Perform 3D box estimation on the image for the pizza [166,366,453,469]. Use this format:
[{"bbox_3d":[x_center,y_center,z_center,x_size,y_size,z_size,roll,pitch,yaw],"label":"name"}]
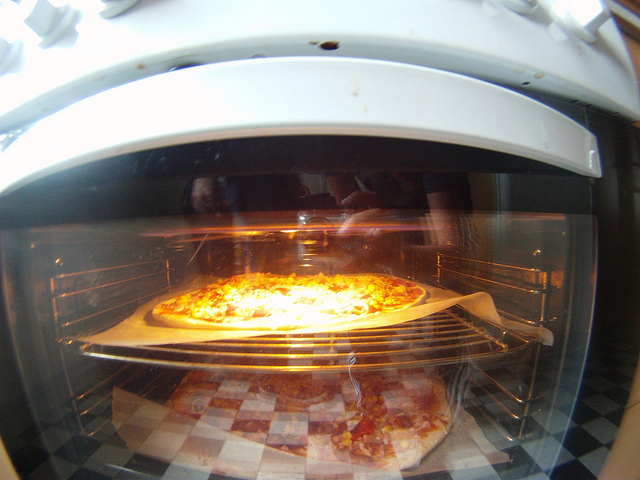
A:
[{"bbox_3d":[-0.005,0.271,0.677,0.326,0.034,0.197,2,27,7],"label":"pizza"}]
